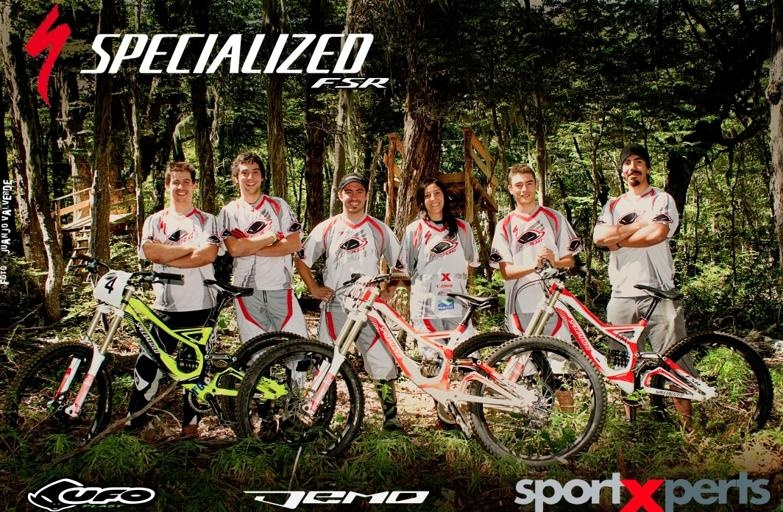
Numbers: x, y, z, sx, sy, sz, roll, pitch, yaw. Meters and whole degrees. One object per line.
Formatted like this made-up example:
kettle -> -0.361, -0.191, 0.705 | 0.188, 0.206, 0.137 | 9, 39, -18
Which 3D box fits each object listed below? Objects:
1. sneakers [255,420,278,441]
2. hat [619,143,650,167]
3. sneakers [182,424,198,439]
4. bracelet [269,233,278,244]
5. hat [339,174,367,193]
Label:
sneakers -> -1.883, 2.650, 9.945 | 0.262, 0.294, 0.291 | -15, -24, 36
hat -> 3.860, -1.623, 10.498 | 0.380, 0.312, 0.393 | 9, -34, 12
sneakers -> -3.098, 2.717, 10.218 | 0.196, 0.204, 0.077 | 15, -6, -2
bracelet -> -1.813, -0.263, 10.307 | 0.097, 0.144, 0.034 | 0, 1, -32
hat -> -0.584, -1.157, 10.332 | 0.463, 0.275, 0.309 | 0, 2, -21
